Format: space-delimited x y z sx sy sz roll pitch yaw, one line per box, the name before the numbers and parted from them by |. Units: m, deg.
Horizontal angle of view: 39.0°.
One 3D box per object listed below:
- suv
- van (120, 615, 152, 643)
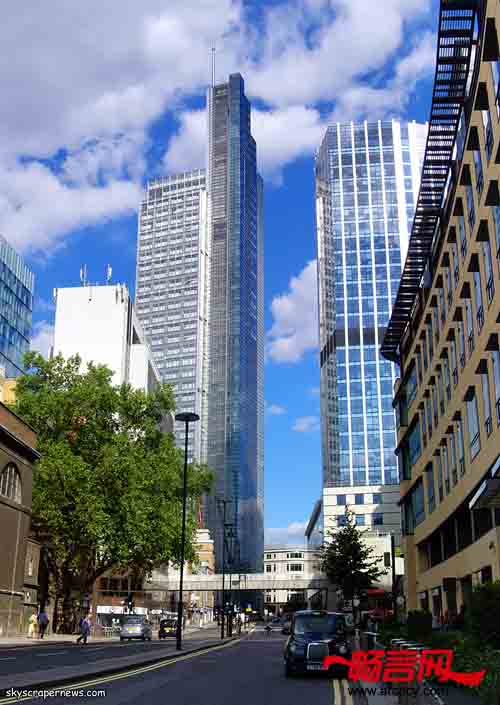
suv | 1.556 6.722 16.227 0.924 0.926 1.859 0 -33 4
van | -7.760 19.034 48.745 1.372 1.367 2.897 -1 -22 3
